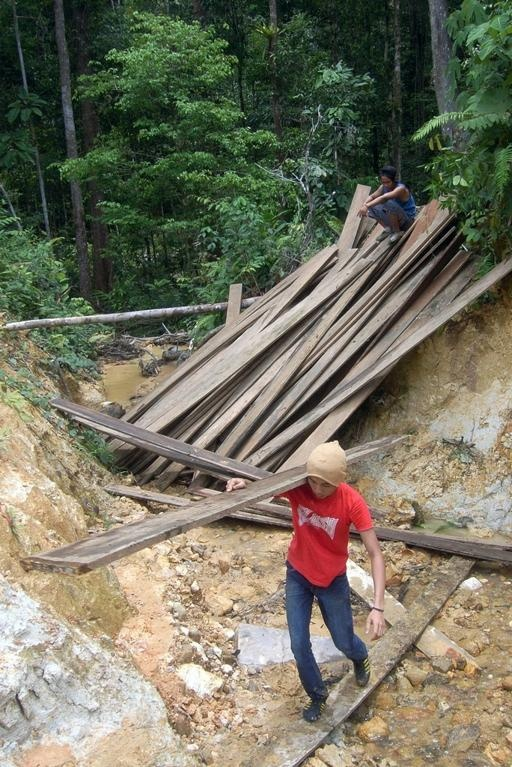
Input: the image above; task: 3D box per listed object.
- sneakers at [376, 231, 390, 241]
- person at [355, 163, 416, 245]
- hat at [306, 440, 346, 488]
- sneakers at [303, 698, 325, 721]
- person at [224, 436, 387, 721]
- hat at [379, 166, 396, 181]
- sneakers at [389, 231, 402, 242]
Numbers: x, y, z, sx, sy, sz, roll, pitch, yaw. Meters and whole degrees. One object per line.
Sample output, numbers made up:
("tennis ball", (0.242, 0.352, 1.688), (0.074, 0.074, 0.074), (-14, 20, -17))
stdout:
("sneakers", (1.457, -1.684, 7.372), (0.070, 0.174, 0.062), (28, 32, -22))
("person", (1.444, -1.964, 7.105), (0.598, 0.824, 0.546), (2, 18, 32))
("hat", (0.340, 0.378, 3.031), (0.158, 0.163, 0.205), (21, -9, 21))
("sneakers", (0.312, 1.725, 3.448), (0.084, 0.050, 0.137), (10, 36, 31))
("person", (0.239, 1.003, 3.224), (0.873, 1.403, 0.711), (2, 10, 10))
("hat", (1.413, -2.268, 6.940), (0.134, 0.139, 0.176), (5, 47, 14))
("sneakers", (1.526, -1.603, 7.055), (0.091, 0.037, 0.136), (19, 57, 45))
